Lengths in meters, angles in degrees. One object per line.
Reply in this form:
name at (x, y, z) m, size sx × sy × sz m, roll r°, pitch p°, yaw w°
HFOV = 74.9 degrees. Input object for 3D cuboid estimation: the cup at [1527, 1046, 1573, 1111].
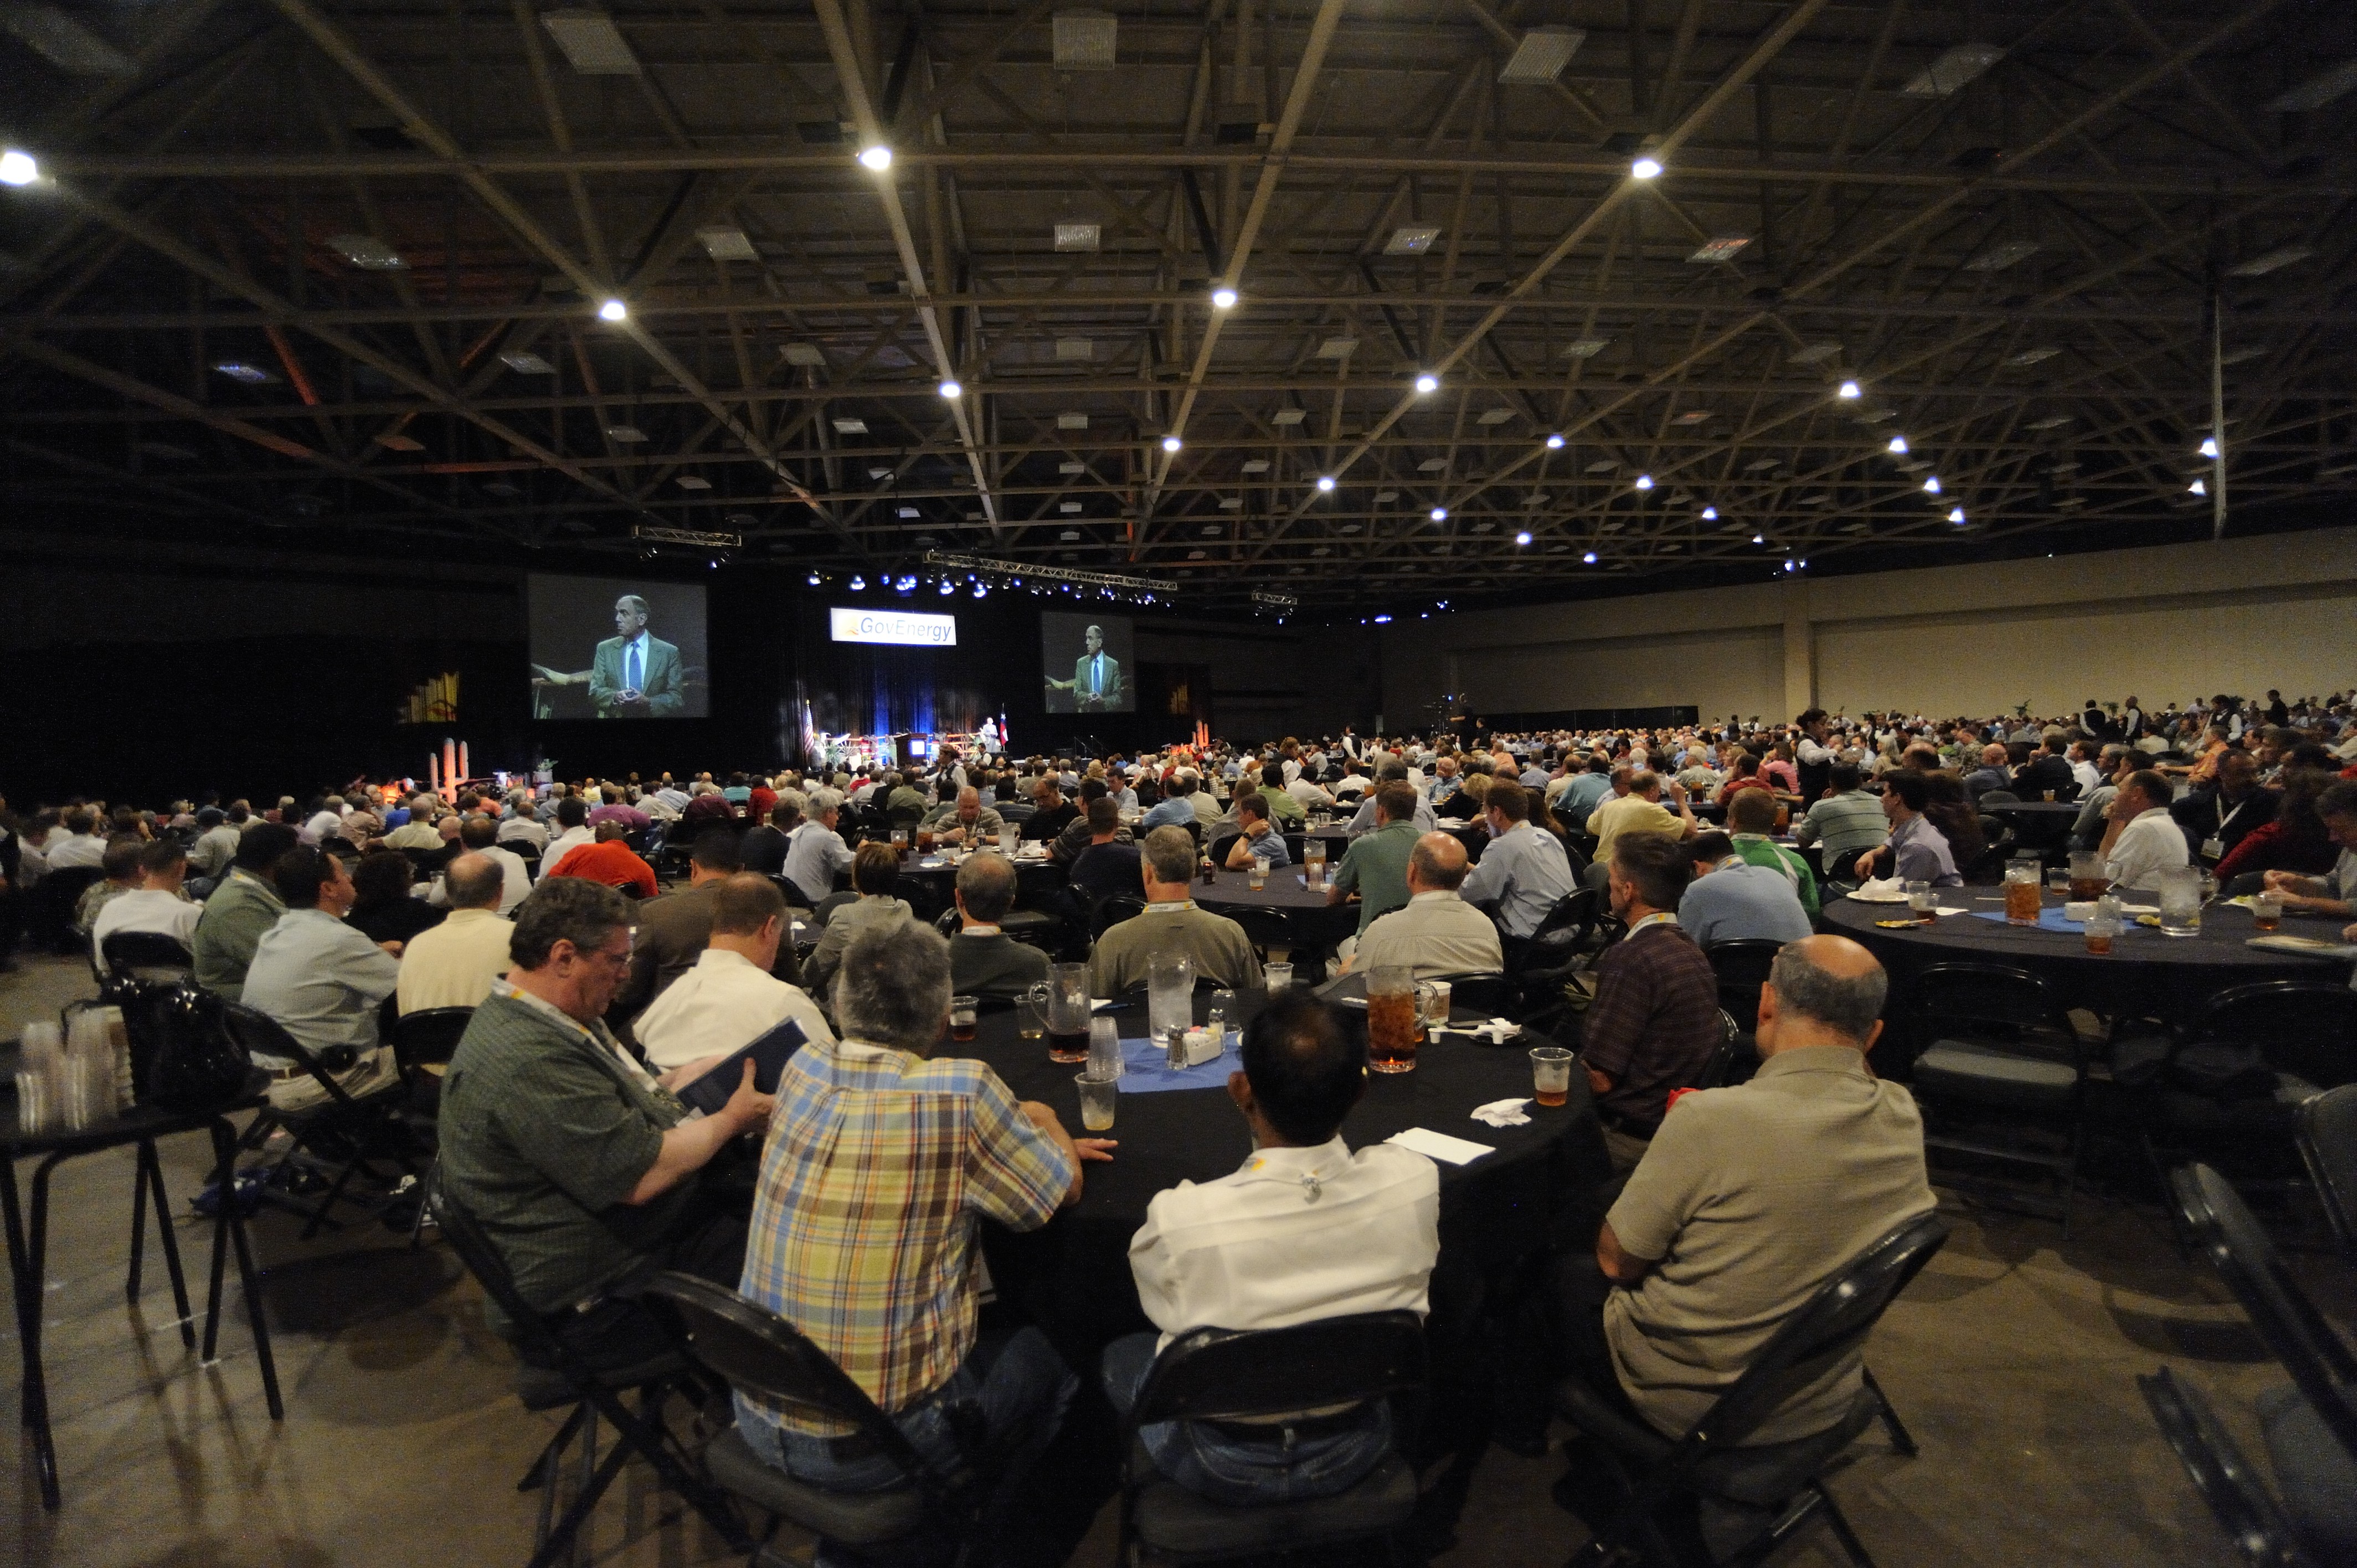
cup at (1.663, 1.312, 6.837) m, size 0.238 × 0.230 × 0.224 m, roll -2°, pitch -2°, yaw 0°

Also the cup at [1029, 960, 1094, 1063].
cup at (-0.595, 1.086, 7.295) m, size 0.461 × 0.441 × 0.264 m, roll -2°, pitch 1°, yaw -14°

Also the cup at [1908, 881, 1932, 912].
cup at (4.287, 0.661, 8.843) m, size 0.143 × 0.140 × 0.135 m, roll -2°, pitch 4°, yaw 0°

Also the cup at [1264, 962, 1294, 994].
cup at (0.503, 0.965, 7.609) m, size 0.126 × 0.125 × 0.123 m, roll -1°, pitch 3°, yaw 0°

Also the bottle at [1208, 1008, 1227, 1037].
bottle at (0.196, 1.166, 7.363) m, size 0.064 × 0.098 × 0.064 m, roll -3°, pitch 0°, yaw 0°

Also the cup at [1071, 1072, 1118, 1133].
cup at (-0.365, 1.393, 6.758) m, size 0.186 × 0.230 × 0.246 m, roll -1°, pitch 1°, yaw -4°
